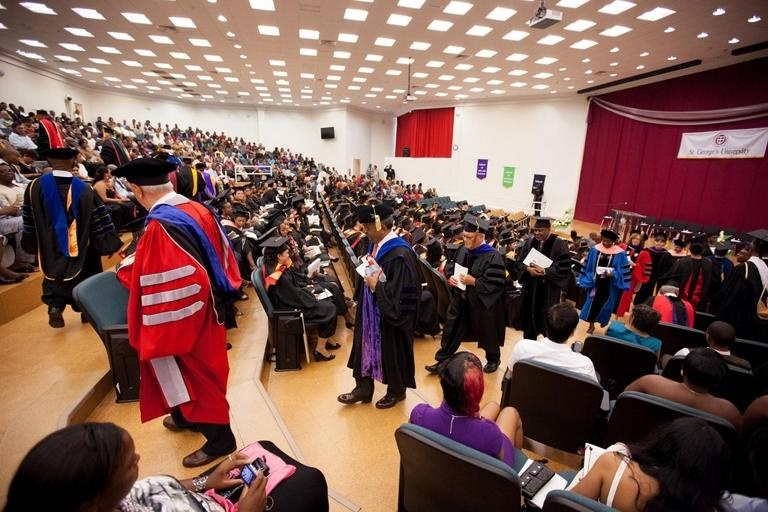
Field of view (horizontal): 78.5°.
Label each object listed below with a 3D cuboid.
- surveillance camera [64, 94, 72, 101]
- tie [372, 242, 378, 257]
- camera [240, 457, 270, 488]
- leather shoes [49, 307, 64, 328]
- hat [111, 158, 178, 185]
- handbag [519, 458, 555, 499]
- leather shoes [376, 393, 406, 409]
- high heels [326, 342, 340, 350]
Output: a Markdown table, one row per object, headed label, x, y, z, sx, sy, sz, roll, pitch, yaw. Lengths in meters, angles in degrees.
| label | x | y | z | sx | sy | sz | roll | pitch | yaw |
| --- | --- | --- | --- | --- | --- | --- | --- | --- | --- |
| surveillance camera | -14.860 | -7.328 | 21.996 | 0.227 | 0.295 | 0.731 | 31 | -3 | -35 |
| tie | -0.135 | -0.084 | 6.566 | 0.046 | 0.286 | 0.034 | 14 | -25 | 8 |
| camera | -1.373 | 2.233 | 4.907 | 0.200 | 0.071 | 0.262 | 35 | 45 | 26 |
| leather shoes | -4.730 | 0.873 | 6.753 | 0.131 | 0.276 | 0.264 | -1 | 21 | -16 |
| hat | -2.787 | -0.969 | 5.471 | 0.437 | 0.162 | 0.412 | 3 | 21 | 12 |
| handbag | 1.688 | 2.457 | 5.242 | 0.408 | 0.271 | 0.229 | -6 | 15 | -37 |
| leather shoes | 0.080 | 1.990 | 6.666 | 0.454 | 0.197 | 0.169 | -6 | 17 | -20 |
| high heels | -0.850 | 1.455 | 7.681 | 0.191 | 0.072 | 0.109 | 3 | 13 | 2 |
